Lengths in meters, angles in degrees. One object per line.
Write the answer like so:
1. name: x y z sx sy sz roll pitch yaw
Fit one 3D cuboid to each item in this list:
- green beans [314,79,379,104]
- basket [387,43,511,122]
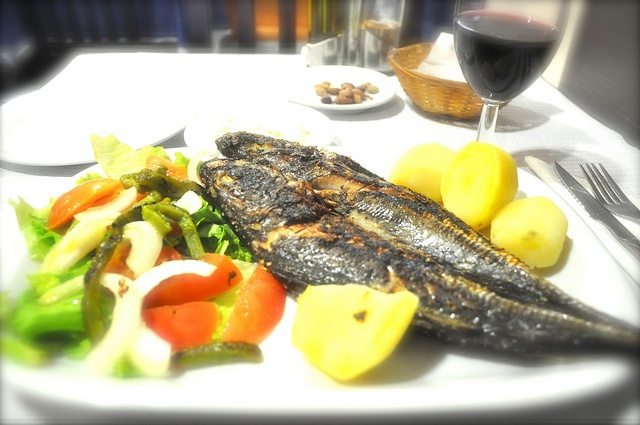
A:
1. green beans: 0.165 -0.699 2.583 0.390 0.068 0.340 -1 46 -5
2. basket: 0.666 -0.672 2.389 0.577 0.223 0.565 -6 38 -15
